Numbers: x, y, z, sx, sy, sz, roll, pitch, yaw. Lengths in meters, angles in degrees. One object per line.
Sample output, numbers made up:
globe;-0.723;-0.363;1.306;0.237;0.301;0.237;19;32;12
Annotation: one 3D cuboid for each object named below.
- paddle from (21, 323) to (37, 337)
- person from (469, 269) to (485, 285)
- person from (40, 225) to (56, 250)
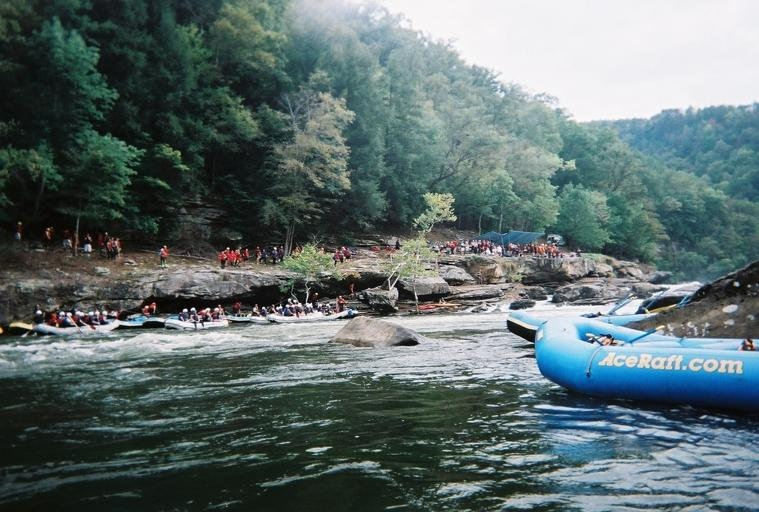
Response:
paddle;-18.779;3.961;27.237;1.005;0.629;0.205;6;0;2
person;9.062;1.826;47.139;1.669;1.294;1.027;1;10;6
person;-23.345;-1.274;35.683;0.933;2.184;1.117;-11;48;-38
